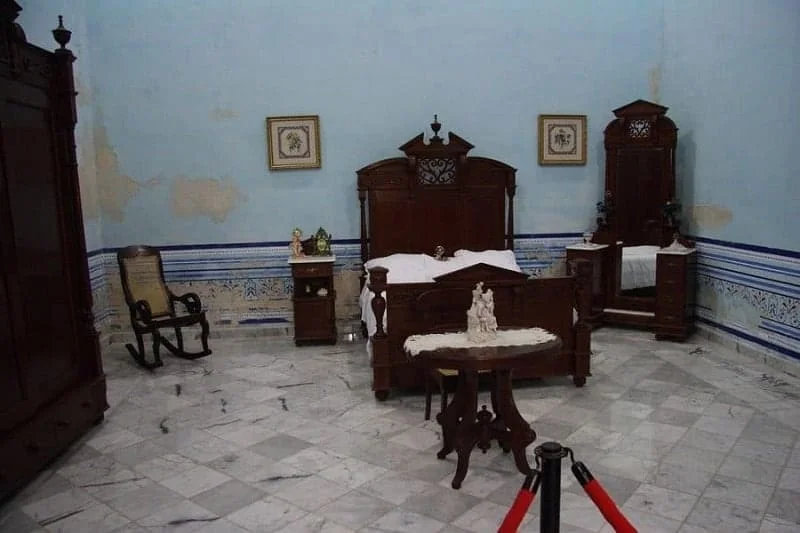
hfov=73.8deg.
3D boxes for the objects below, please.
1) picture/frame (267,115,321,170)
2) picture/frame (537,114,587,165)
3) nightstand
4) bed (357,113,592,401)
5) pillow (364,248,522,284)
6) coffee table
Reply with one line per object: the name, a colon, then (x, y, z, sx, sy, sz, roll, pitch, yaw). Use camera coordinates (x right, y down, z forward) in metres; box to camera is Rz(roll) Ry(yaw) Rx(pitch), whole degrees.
picture/frame: (-1.618, -1.880, 7.956, 0.895, 0.751, 0.084, -1, 4, -7)
picture/frame: (2.507, -2.020, 8.317, 0.862, 0.730, 0.078, -1, 5, -8)
nightstand: (-1.275, 0.499, 7.847, 0.692, 1.278, 0.519, -5, 13, -9)
bed: (0.685, -0.253, 6.962, 2.857, 2.805, 3.051, -1, 9, 2)
pillow: (0.611, -0.018, 7.380, 1.933, 0.209, 1.389, -6, 12, -17)
coffee table: (0.690, 1.183, 5.069, 1.328, 0.976, 1.332, -3, 4, -20)
